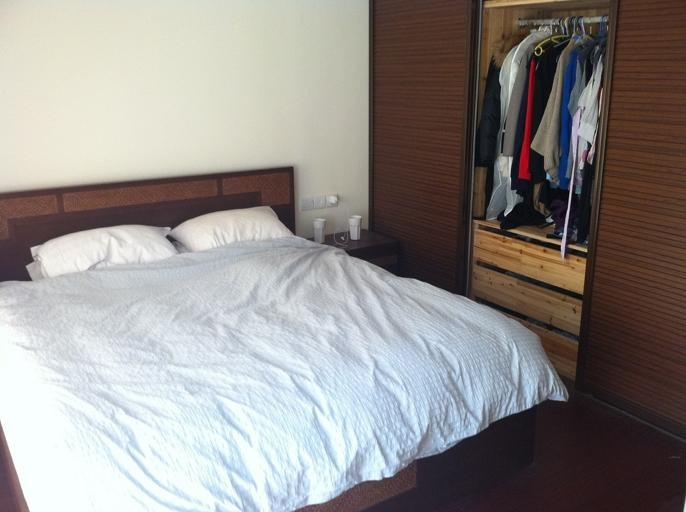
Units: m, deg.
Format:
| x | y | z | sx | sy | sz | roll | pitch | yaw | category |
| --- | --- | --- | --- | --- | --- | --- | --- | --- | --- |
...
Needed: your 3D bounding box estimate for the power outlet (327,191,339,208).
| x | y | z | sx | sy | sz | roll | pitch | yaw | category |
| --- | --- | --- | --- | --- | --- | --- | --- | --- | --- |
| -0.092 | -0.478 | 4.329 | 0.121 | 0.120 | 0.062 | -10 | 17 | -42 | power outlet |
